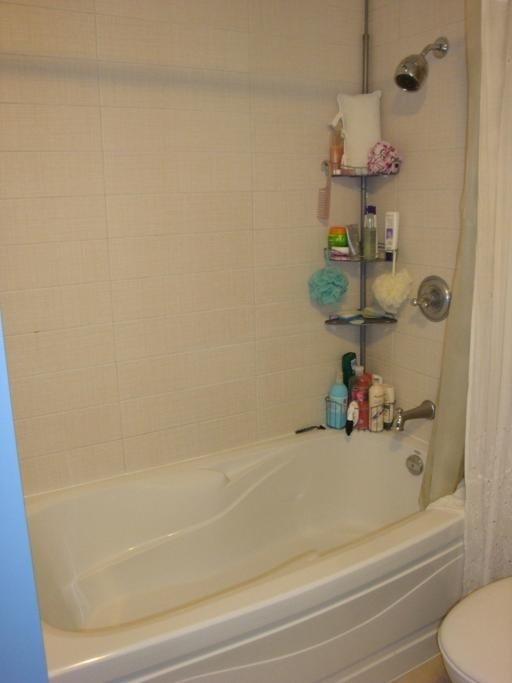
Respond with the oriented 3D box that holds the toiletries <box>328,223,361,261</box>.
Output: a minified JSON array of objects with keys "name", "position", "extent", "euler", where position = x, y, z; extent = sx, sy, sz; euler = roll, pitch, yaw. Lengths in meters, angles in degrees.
[{"name":"toiletries","position":[0.360,-0.413,2.139],"extent":[0.157,0.167,0.096],"euler":[1,6,17]}]

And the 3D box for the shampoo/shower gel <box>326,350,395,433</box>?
[{"name":"shampoo/shower gel","position":[0.453,0.211,2.340],"extent":[0.304,0.347,0.247],"euler":[-3,9,-7]}]

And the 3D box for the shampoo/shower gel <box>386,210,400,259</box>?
[{"name":"shampoo/shower gel","position":[0.532,-0.425,2.081],"extent":[0.063,0.166,0.129],"euler":[6,9,14]}]
